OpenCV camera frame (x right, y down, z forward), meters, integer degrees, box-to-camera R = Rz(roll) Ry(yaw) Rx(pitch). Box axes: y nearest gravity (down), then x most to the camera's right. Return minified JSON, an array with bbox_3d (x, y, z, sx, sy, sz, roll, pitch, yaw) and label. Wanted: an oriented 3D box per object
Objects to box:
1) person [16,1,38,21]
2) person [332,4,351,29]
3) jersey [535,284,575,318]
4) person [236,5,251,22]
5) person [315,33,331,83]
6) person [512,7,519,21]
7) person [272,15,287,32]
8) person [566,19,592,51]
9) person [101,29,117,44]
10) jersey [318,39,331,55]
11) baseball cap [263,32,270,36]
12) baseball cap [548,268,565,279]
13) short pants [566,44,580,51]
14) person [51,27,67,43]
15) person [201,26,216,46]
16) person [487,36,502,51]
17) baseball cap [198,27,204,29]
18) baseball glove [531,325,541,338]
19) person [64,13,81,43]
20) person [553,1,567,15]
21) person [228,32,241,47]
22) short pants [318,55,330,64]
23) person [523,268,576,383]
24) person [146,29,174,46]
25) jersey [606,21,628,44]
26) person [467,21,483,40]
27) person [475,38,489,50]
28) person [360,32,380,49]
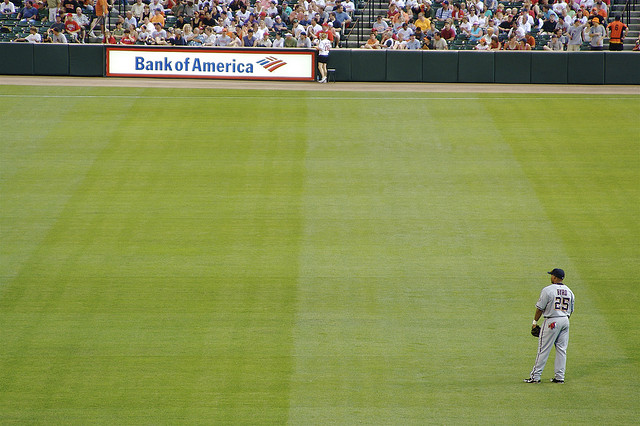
[{"bbox_3d":[-11.422,-7.744,48.533,0.746,0.652,1.109,-5,17,-11],"label":"person"},{"bbox_3d":[0.863,-7.448,47.937,0.579,0.886,0.776,-8,20,-17],"label":"person"},{"bbox_3d":[5.307,1.990,28.108,1.199,0.718,0.489,3,12,0],"label":"jersey"},{"bbox_3d":[-2.963,-7.539,47.667,0.485,0.560,0.734,-2,17,-3],"label":"person"},{"bbox_3d":[0.102,-5.294,43.431,0.527,1.658,0.798,-3,20,-4],"label":"person"},{"bbox_3d":[7.306,-7.314,46.673,0.391,0.495,0.706,3,7,9],"label":"person"},{"bbox_3d":[-1.550,-6.967,46.701,0.523,0.518,0.747,-2,17,-2],"label":"person"},{"bbox_3d":[9.085,-6.262,44.422,0.501,1.154,0.772,2,19,9],"label":"person"},{"bbox_3d":[-7.691,-6.253,45.160,0.427,0.476,1.342,-4,16,-9],"label":"person"},{"bbox_3d":[0.135,-5.638,43.088,0.739,0.557,0.334,2,47,-3],"label":"jersey"},{"bbox_3d":[-1.985,-6.398,45.213,0.161,0.121,0.111,-3,11,-39],"label":"baseball cap"},{"bbox_3d":[5.315,1.348,27.984,0.321,0.148,0.208,16,18,38],"label":"baseball cap"},{"bbox_3d":[9.096,-5.854,44.677,0.297,0.290,0.133,5,21,13],"label":"short pants"},{"bbox_3d":[-9.373,-6.255,44.630,0.478,0.534,0.818,-4,17,-10],"label":"person"},{"bbox_3d":[-4.073,-6.335,45.213,0.511,0.616,0.489,-3,19,-4],"label":"person"},{"bbox_3d":[6.139,-5.894,43.782,0.502,0.594,1.474,1,16,8],"label":"person"},{"bbox_3d":[-4.419,-6.704,45.841,0.305,0.073,0.262,-2,5,-19],"label":"baseball cap"},{"bbox_3d":[4.859,2.631,28.070,0.171,0.363,0.355,2,18,10],"label":"baseball glove"},{"bbox_3d":[-9.208,-6.742,46.205,0.574,0.967,1.497,-5,17,-11],"label":"person"},{"bbox_3d":[9.195,-7.773,47.893,0.646,0.620,0.295,-2,-8,12],"label":"person"},{"bbox_3d":[-3.103,-6.137,44.818,0.447,0.504,0.741,5,5,29],"label":"person"},{"bbox_3d":[0.132,-5.294,43.461,0.402,0.217,0.240,0,28,-10],"label":"short pants"},{"bbox_3d":[5.307,2.532,28.286,0.808,2.664,1.099,7,22,21],"label":"person"},{"bbox_3d":[-5.833,-6.273,45.197,0.966,0.435,1.182,-3,16,-8],"label":"person"},{"bbox_3d":[10.637,-6.391,44.607,0.554,0.781,1.232,3,17,12],"label":"jersey"},{"bbox_3d":[5.694,-6.601,45.777,0.551,0.600,0.743,1,18,6],"label":"person"},{"bbox_3d":[5.770,-5.923,44.443,0.477,0.339,0.697,0,16,3],"label":"person"},{"bbox_3d":[1.794,-6.027,44.866,0.469,0.399,0.869,1,2,15],"label":"person"}]
